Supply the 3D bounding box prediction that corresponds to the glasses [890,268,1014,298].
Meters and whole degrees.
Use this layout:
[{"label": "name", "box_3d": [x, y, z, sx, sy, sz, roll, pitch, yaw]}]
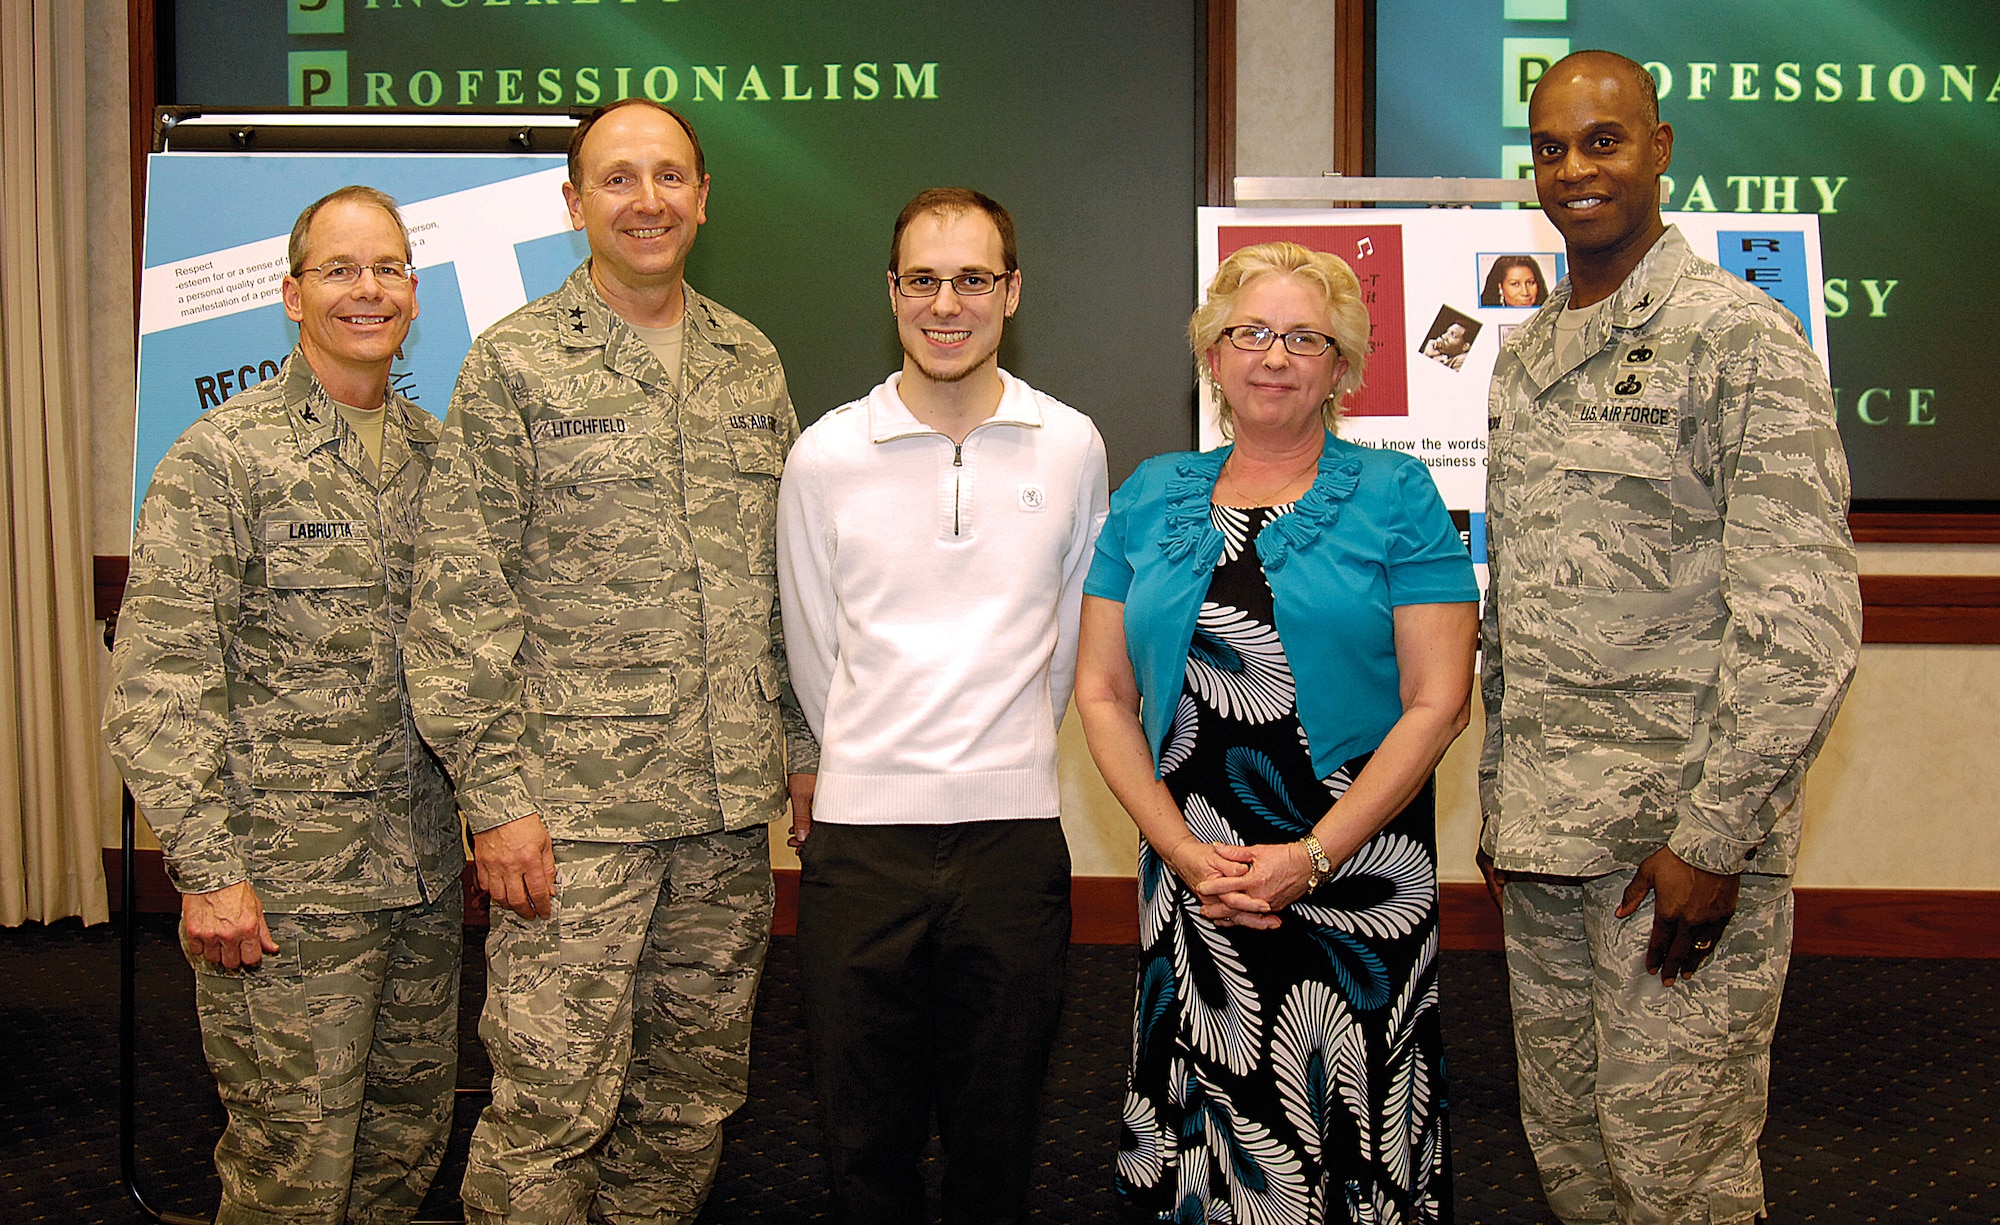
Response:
[{"label": "glasses", "box_3d": [-0.113, -0.776, 4.122, 0.256, 0.068, 0.058, -2, 11, -3]}]
